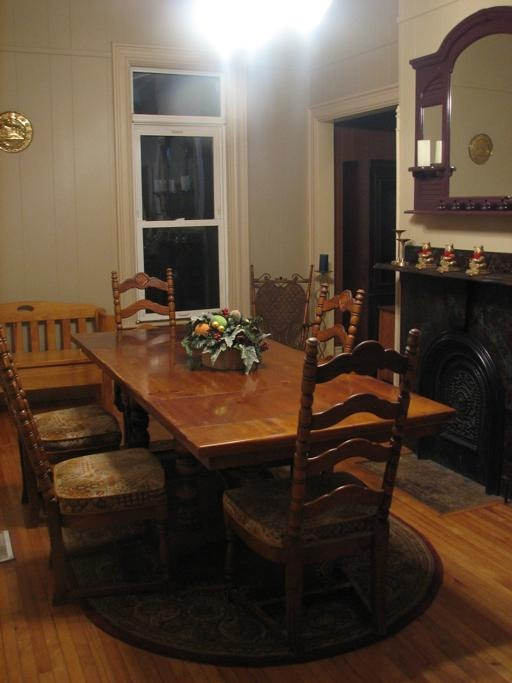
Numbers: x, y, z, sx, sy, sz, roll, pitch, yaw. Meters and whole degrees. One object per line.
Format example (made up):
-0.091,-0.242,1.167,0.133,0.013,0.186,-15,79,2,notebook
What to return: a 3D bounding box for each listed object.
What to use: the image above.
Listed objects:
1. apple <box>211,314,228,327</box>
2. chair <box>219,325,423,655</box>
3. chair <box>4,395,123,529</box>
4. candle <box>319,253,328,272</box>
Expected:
-0.153,-0.086,2.400,0.046,0.044,0.056,4,17,-33,apple
0.170,0.421,1.741,0.511,0.817,0.520,0,3,-44,chair
-0.955,0.404,2.711,0.481,0.681,0.539,-7,21,-23,chair
0.584,-0.667,5.000,0.082,0.166,0.105,1,6,6,candle
